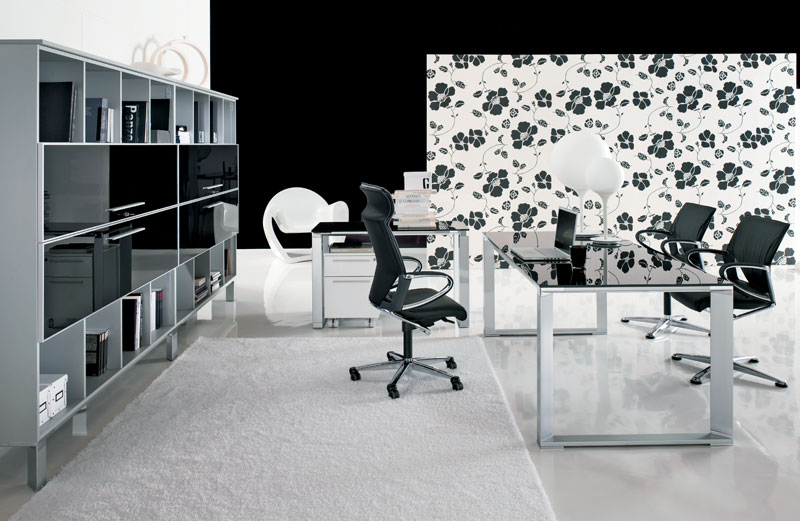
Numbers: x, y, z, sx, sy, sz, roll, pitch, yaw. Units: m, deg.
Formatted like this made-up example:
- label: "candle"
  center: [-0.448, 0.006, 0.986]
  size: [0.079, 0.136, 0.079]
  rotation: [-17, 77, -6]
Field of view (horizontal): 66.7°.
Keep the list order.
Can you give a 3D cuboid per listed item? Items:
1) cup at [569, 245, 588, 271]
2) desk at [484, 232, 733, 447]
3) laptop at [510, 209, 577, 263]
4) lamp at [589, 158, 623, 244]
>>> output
- label: "cup"
  center: [1.305, -0.009, 4.418]
  size: [0.145, 0.193, 0.158]
  rotation: [0, 5, 0]
- label: "desk"
  center: [1.643, 0.315, 5.724]
  size: [1.724, 1.175, 3.913]
  rotation: [1, 14, 6]
- label: "laptop"
  center: [1.236, -0.159, 4.936]
  size: [0.384, 0.447, 0.640]
  rotation: [1, 12, -4]
- label: "lamp"
  center: [1.730, -0.506, 5.201]
  size: [0.303, 0.720, 0.426]
  rotation: [4, 15, 19]
